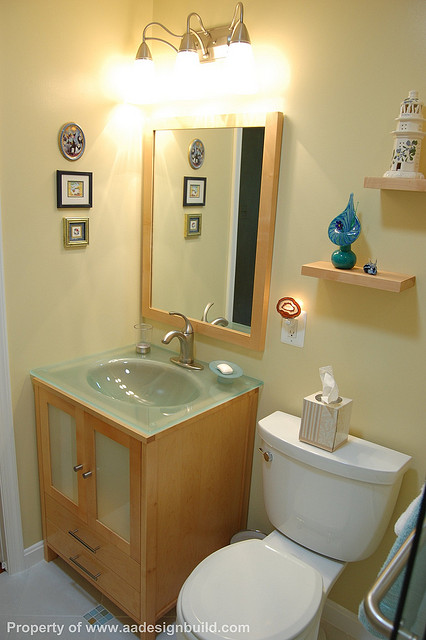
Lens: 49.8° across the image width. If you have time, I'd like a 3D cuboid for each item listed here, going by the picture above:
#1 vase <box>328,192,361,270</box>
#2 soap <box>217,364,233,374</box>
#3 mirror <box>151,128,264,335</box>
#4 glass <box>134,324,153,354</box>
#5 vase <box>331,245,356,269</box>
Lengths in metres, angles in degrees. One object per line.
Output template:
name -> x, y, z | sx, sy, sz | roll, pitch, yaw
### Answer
vase -> 0.398, -0.267, 1.388 | 0.095, 0.222, 0.103 | 8, 13, 16
soap -> 0.043, 0.183, 1.730 | 0.049, 0.015, 0.072 | -4, 17, -34
mirror -> -0.009, -0.367, 1.806 | 0.034, 0.929, 0.575 | -13, 24, -42
glass -> -0.309, 0.084, 2.057 | 0.082, 0.119, 0.080 | 4, 21, 4
vase -> 0.393, -0.186, 1.371 | 0.060, 0.077, 0.066 | 0, 12, 1
